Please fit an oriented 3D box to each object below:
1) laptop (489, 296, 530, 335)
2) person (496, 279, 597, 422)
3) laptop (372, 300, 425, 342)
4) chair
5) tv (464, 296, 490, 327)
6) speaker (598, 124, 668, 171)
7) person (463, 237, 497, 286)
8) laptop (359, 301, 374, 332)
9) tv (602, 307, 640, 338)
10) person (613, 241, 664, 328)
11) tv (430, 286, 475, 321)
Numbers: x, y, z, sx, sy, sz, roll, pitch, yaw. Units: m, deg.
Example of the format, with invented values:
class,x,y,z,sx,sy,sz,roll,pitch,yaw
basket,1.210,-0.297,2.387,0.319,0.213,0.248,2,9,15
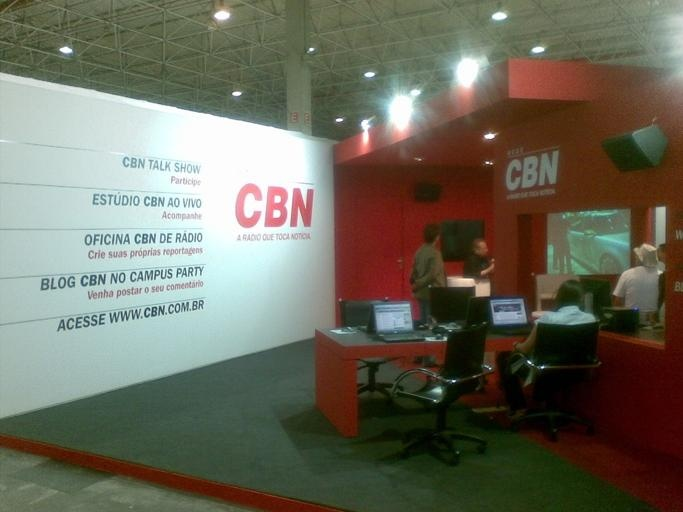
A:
class,x,y,z,sx,sy,sz,roll,pitch,yaw
laptop,1.809,0.698,6.080,0.466,0.349,0.438,-9,29,15
person,2.182,1.071,5.852,0.885,1.655,0.861,2,4,-7
laptop,0.575,0.696,5.880,0.438,0.356,0.372,0,-2,-15
chair,0.737,0.905,6.741,1.571,1.664,1.191,-1,-2,-15
tv,1.518,0.581,6.247,0.336,0.350,0.268,0,2,-23
speaker,2.820,-1.027,5.392,0.386,0.464,0.452,-3,15,-9
person,2.119,0.284,8.722,0.466,1.020,0.501,5,2,24
laptop,0.287,0.712,6.440,0.102,0.320,0.301,2,-1,-2
tv,2.843,0.664,5.673,0.398,0.241,0.284,0,2,8
person,3.319,0.305,6.250,0.464,0.752,0.809,9,18,35
tv,1.267,0.476,6.428,0.488,0.467,0.363,0,-2,-9
